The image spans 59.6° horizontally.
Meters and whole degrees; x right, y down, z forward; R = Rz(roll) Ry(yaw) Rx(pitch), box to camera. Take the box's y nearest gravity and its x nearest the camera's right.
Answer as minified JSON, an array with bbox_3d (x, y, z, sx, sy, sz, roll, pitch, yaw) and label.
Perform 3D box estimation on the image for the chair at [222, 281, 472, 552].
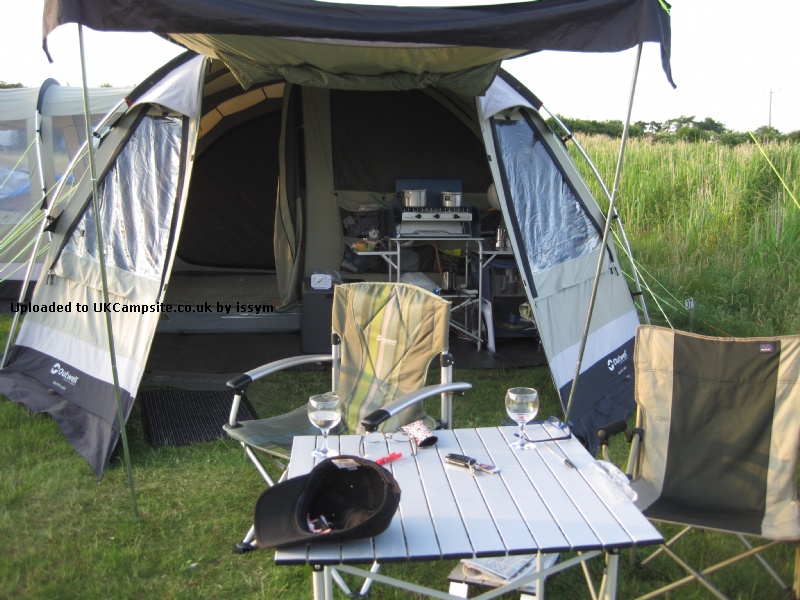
[{"bbox_3d":[-0.255,0.322,3.499,0.908,1.385,1.031,4,8,33],"label":"chair"}]

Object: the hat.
[{"bbox_3d":[-0.250,0.686,2.401,0.496,0.187,0.267,-2,16,-15],"label":"hat"}]

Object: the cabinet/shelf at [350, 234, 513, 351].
[{"bbox_3d":[0.356,-0.158,6.233,1.122,1.106,1.089,-2,14,-11],"label":"cabinet/shelf"}]

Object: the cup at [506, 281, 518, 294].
[{"bbox_3d":[0.980,-0.117,6.166,0.083,0.108,0.089,-1,10,0],"label":"cup"}]

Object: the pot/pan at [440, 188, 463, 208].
[{"bbox_3d":[0.455,-0.874,6.090,0.160,0.177,0.170,-1,2,-4],"label":"pot/pan"}]

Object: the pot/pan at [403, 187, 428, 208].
[{"bbox_3d":[0.129,-0.882,6.041,0.177,0.151,0.190,2,10,19],"label":"pot/pan"}]

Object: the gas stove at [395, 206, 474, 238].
[{"bbox_3d":[0.301,-0.659,5.856,0.631,0.248,0.477,1,17,-12],"label":"gas stove"}]
